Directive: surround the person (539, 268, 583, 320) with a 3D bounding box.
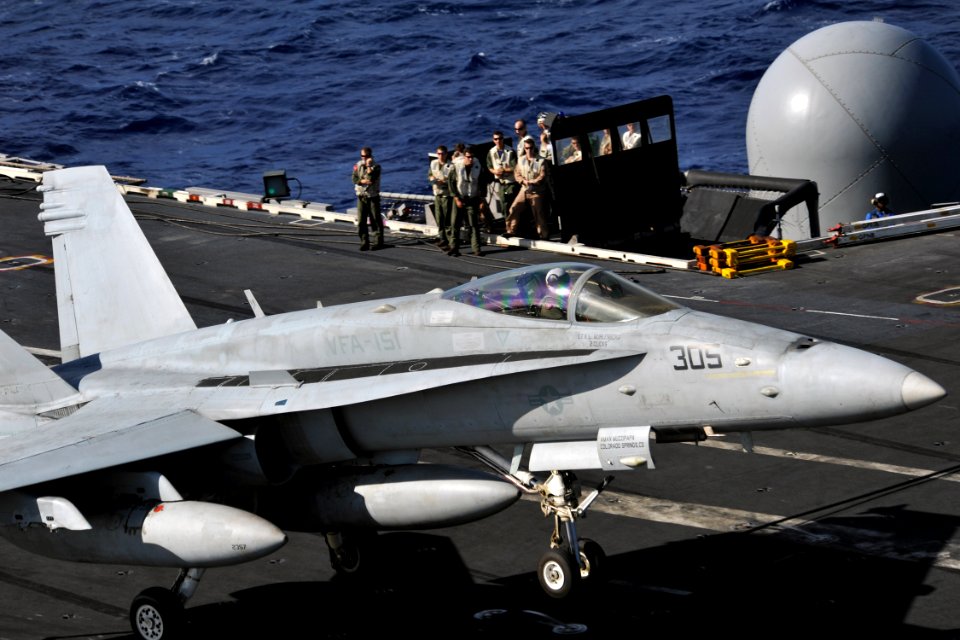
[{"bbox_3d":[1.151,-0.385,15.959,0.512,0.681,0.465,1,18,12],"label":"person"}]
